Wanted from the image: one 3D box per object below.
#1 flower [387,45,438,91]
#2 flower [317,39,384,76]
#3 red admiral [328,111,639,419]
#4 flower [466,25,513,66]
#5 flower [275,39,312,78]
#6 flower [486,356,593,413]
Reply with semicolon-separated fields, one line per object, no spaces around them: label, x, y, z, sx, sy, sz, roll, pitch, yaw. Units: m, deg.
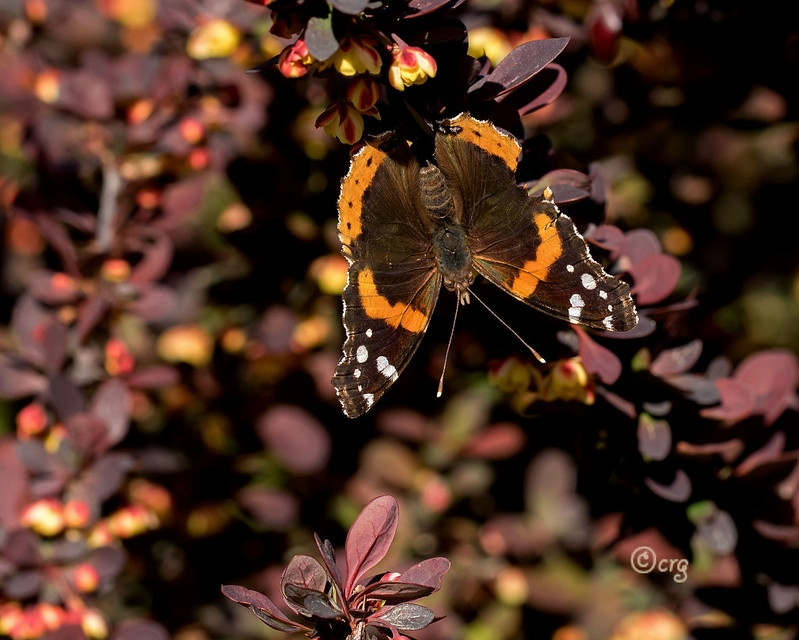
flower;0.013;-0.350;1.689;0.076;0.087;0.033;-10;70;-12
flower;-0.057;-0.351;1.641;0.061;0.036;0.046;-7;82;2
red admiral;0.063;-0.118;1.942;0.498;0.112;0.407;-22;86;11
flower;0.143;-0.423;1.875;0.077;0.021;0.076;-16;90;-34
flower;-0.141;-0.353;1.671;0.041;0.051;0.021;2;39;4
flower;0.216;0.093;1.835;0.083;0.103;0.041;-1;57;13
